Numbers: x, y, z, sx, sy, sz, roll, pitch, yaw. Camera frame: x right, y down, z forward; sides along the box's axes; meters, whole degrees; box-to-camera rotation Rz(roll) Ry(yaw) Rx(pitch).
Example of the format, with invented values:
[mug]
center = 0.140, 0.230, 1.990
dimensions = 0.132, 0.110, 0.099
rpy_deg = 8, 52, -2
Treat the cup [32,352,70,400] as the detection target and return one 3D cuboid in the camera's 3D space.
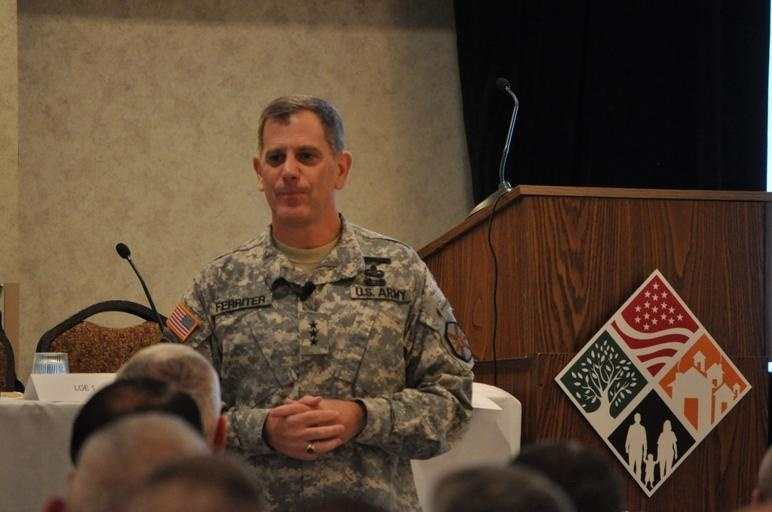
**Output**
[cup]
center = -1.279, 0.427, 3.967
dimensions = 0.104, 0.097, 0.104
rpy_deg = 0, 0, 0
